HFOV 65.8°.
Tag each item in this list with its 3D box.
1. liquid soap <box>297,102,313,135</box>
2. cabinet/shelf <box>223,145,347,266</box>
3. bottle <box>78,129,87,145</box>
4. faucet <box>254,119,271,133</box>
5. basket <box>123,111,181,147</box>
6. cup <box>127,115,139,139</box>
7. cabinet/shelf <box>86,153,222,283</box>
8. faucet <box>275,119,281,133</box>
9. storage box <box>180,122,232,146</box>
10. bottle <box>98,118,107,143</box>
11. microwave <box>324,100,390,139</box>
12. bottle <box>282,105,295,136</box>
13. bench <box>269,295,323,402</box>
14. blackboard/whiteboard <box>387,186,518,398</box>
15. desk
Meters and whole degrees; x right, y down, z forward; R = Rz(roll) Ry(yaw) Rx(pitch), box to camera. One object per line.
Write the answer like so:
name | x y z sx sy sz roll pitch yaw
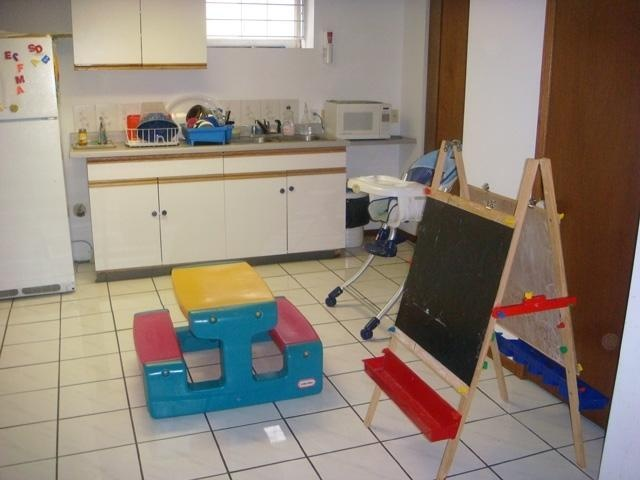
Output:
liquid soap | -0.159 -1.291 5.241 0.156 0.329 0.143 -3 16 -5
cabinet/shelf | -0.370 -0.364 4.717 1.055 0.904 0.407 -4 13 -16
bottle | -2.124 -0.910 4.436 0.076 0.128 0.200 -9 17 -24
faucet | -0.570 -1.159 5.072 0.187 0.178 0.110 -4 20 -5
basket | -1.484 -0.977 4.497 0.405 0.233 0.411 1 13 -6
cup | -1.638 -0.987 4.389 0.135 0.210 0.139 -2 16 1
cabinet/shelf | -1.457 -0.225 4.336 1.054 0.921 0.377 -4 12 -20
faucet | -0.427 -1.173 5.141 0.071 0.140 0.197 -3 16 -3
storage box | -1.004 -0.947 4.512 0.241 0.129 0.313 -2 20 -6
bottle | -2.001 -1.002 4.562 0.085 0.227 0.351 -8 17 -21
microwave | 0.438 -1.275 5.268 0.617 0.347 0.469 2 21 6
bottle | -0.330 -1.231 5.116 0.138 0.302 0.286 -3 16 -3
bench | -0.156 0.701 3.075 0.184 0.257 0.580 2 25 -21
blackboard/whiteboard | 0.619 0.214 2.381 0.222 0.746 0.587 -9 17 -25
desk | -0.594 0.565 3.207 0.634 0.609 0.901 -6 18 -19
